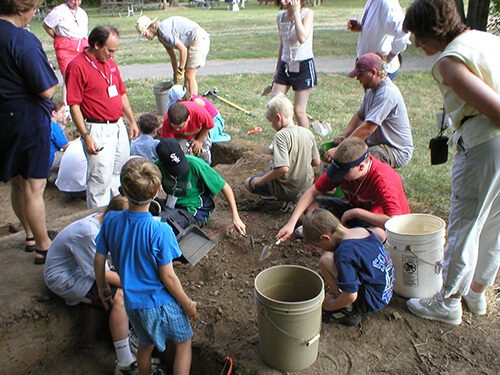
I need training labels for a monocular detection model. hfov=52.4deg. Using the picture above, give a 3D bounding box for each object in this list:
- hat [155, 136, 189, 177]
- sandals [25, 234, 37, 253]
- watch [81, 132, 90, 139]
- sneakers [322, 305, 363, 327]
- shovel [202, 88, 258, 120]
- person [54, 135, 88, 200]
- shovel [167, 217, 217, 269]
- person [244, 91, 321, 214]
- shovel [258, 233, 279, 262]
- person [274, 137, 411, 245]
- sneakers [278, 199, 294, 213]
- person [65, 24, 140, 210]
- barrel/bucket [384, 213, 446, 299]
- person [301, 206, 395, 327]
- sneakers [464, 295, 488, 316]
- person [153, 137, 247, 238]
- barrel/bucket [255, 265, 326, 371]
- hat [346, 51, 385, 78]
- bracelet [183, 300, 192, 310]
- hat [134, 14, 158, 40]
[{"bbox_3d":[-0.804,-0.296,5.351,0.250,0.205,0.404,-29,75,-4],"label":"hat"},{"bbox_3d":[-2.347,0.594,5.483,0.089,0.102,0.235,-3,17,-17],"label":"sandals"},{"bbox_3d":[-1.910,-0.598,5.898,0.065,0.056,0.075,4,4,34],"label":"watch"},{"bbox_3d":[0.845,1.163,4.702,0.383,0.308,0.156,7,58,12],"label":"sneakers"},{"bbox_3d":[-0.354,-1.572,9.483,0.496,0.153,1.198,-17,35,-37],"label":"shovel"},{"bbox_3d":[-2.473,-0.280,7.077,0.376,0.794,0.606,6,21,-17],"label":"person"},{"bbox_3d":[-0.655,0.542,5.348,0.557,0.098,0.324,36,49,28],"label":"shovel"},{"bbox_3d":[0.396,-0.396,6.181,0.827,1.429,0.795,-10,20,-22],"label":"person"},{"bbox_3d":[0.203,0.618,5.483,0.179,0.250,0.320,7,28,14],"label":"shovel"},{"bbox_3d":[0.986,0.079,5.379,1.273,1.326,1.040,1,25,15],"label":"person"},{"bbox_3d":[0.426,0.173,6.196,0.231,0.178,0.082,-21,48,-21],"label":"sneakers"},{"bbox_3d":[-1.788,-0.700,6.330,0.526,2.601,0.838,20,31,30],"label":"person"},{"bbox_3d":[1.484,0.620,5.020,0.624,0.786,0.717,-7,22,9],"label":"barrel/bucket"},{"bbox_3d":[0.931,0.704,4.707,0.715,1.068,0.728,-7,29,6],"label":"person"},{"bbox_3d":[2.081,1.050,4.761,0.101,0.128,0.268,-13,25,-5],"label":"sneakers"},{"bbox_3d":[-0.533,0.101,5.790,1.170,0.818,0.916,22,32,22],"label":"person"},{"bbox_3d":[0.326,1.113,4.424,0.586,0.666,0.606,0,27,0],"label":"barrel/bucket"},{"bbox_3d":[1.303,-1.396,5.735,0.345,0.223,0.252,0,24,10],"label":"hat"},{"bbox_3d":[-0.525,0.976,4.314,0.043,0.070,0.086,-33,50,-32],"label":"bracelet"},{"bbox_3d":[-1.734,-2.710,8.576,0.358,0.390,0.412,-7,28,-12],"label":"hat"}]
